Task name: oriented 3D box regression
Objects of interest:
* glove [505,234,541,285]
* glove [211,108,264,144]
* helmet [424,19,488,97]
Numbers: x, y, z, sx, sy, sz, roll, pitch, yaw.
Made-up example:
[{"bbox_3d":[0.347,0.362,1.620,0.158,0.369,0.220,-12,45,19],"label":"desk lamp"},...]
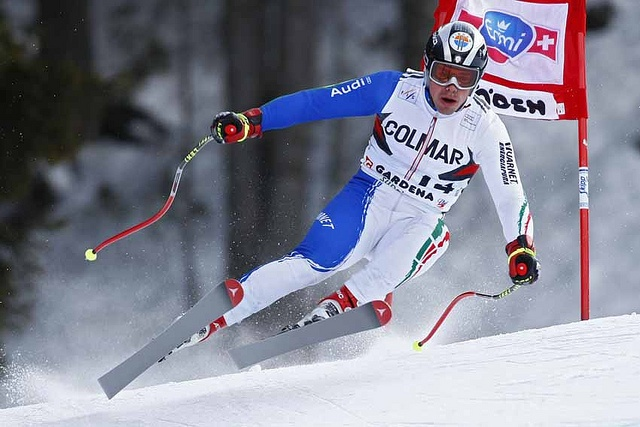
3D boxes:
[{"bbox_3d":[1.440,0.387,6.047,0.279,0.455,0.307,-5,-20,17],"label":"glove"},{"bbox_3d":[-0.594,-0.627,6.088,0.329,0.224,0.141,-8,3,-10],"label":"glove"},{"bbox_3d":[0.939,-1.095,6.056,0.370,0.421,0.502,14,44,-7],"label":"helmet"}]
